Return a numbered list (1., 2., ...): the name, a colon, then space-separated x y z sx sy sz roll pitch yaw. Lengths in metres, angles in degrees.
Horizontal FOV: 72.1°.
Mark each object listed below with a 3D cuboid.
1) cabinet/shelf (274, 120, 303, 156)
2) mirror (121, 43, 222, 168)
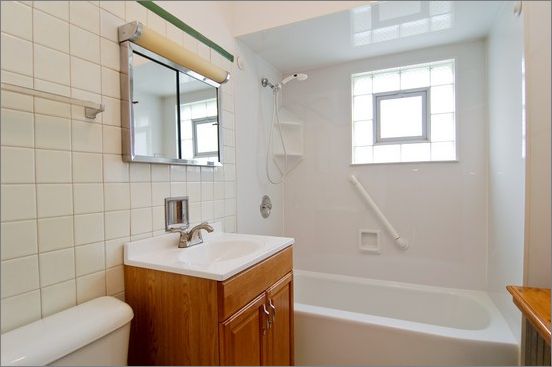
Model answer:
1. cabinet/shelf: 0.125 -0.417 3.899 0.371 0.387 0.292 0 1 -18
2. mirror: -0.661 -0.500 2.572 0.112 0.775 0.951 0 1 26
